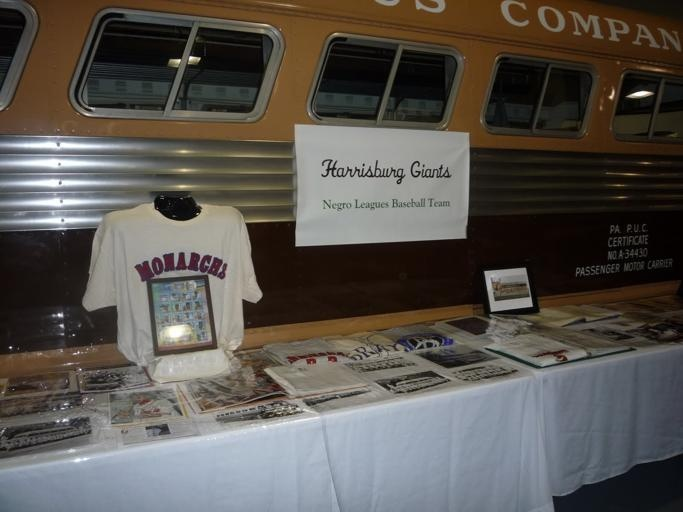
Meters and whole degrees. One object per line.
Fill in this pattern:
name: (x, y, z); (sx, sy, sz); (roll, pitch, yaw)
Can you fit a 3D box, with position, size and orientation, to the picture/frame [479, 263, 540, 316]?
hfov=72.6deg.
picture/frame: (1.281, 0.243, 3.558); (0.519, 0.391, 0.039); (-4, -7, -23)
